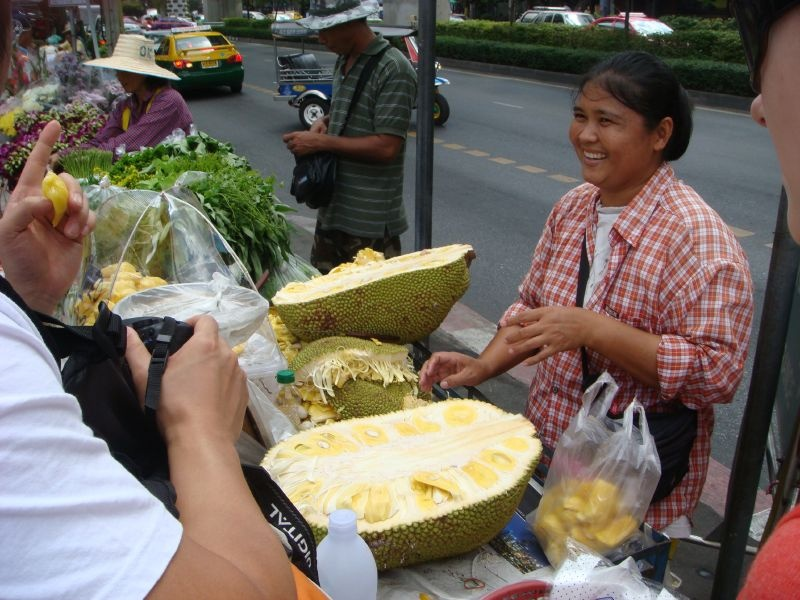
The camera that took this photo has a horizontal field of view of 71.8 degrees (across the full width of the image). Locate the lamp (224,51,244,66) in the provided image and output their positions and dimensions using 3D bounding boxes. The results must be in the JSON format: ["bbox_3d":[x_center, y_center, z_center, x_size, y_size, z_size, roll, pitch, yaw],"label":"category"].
[{"bbox_3d":[-5.218,-7.722,17.684,0.350,0.304,0.869,2,25,4],"label":"lamp"}]

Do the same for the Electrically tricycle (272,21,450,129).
[{"bbox_3d":[-0.879,-5.607,14.046,4.357,2.554,2.116,2,19,12],"label":"Electrically tricycle"}]

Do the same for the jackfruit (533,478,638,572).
[{"bbox_3d":[0.567,0.644,1.691,0.290,0.185,0.199,-6,26,-14],"label":"jackfruit"}]

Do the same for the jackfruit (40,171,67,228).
[{"bbox_3d":[-0.933,-0.265,1.510,0.073,0.146,0.075,5,1,-44],"label":"jackfruit"}]

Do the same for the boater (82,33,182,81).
[{"bbox_3d":[-2.533,-2.277,5.210,0.641,0.297,0.652,14,17,24],"label":"boater"}]

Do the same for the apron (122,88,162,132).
[{"bbox_3d":[-2.525,-1.735,5.324,0.326,0.454,0.237,-5,3,6],"label":"apron"}]

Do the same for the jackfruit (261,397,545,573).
[{"bbox_3d":[0.022,0.603,1.792,0.862,0.318,0.621,-11,20,-30],"label":"jackfruit"}]

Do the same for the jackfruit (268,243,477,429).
[{"bbox_3d":[-0.148,0.151,2.548,0.850,0.706,0.904,-8,23,-28],"label":"jackfruit"}]
